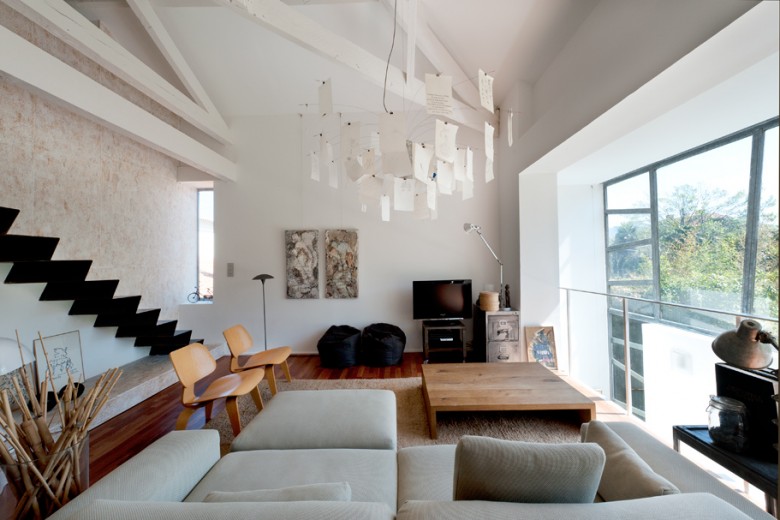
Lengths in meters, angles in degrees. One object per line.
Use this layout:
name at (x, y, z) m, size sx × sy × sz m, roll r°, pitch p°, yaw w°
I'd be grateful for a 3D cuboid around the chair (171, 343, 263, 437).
chair at (-1.780, 1.347, 5.435) m, size 0.906 × 0.874 × 0.982 m, roll -1°, pitch 4°, yaw 32°

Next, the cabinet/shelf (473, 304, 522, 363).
cabinet/shelf at (1.631, 0.998, 7.267) m, size 0.609 × 0.873 × 0.708 m, roll -11°, pitch 20°, yaw -8°

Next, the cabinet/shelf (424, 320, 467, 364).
cabinet/shelf at (0.797, 1.188, 7.497) m, size 0.595 × 0.508 × 0.606 m, roll -1°, pitch -7°, yaw 0°

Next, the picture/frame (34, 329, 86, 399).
picture/frame at (-3.570, 1.115, 5.483) m, size 0.079 × 0.810 × 0.805 m, roll -11°, pitch -11°, yaw 13°

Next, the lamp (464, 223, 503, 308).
lamp at (1.433, 0.052, 7.577) m, size 0.525 × 1.289 × 0.598 m, roll -1°, pitch -2°, yaw 6°

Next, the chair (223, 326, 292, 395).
chair at (-1.612, 1.200, 6.238) m, size 0.720 × 0.743 × 0.777 m, roll -2°, pitch 4°, yaw 4°

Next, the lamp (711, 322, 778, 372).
lamp at (3.073, 0.751, 4.432) m, size 0.442 × 0.249 × 0.425 m, roll -17°, pitch 21°, yaw -12°
